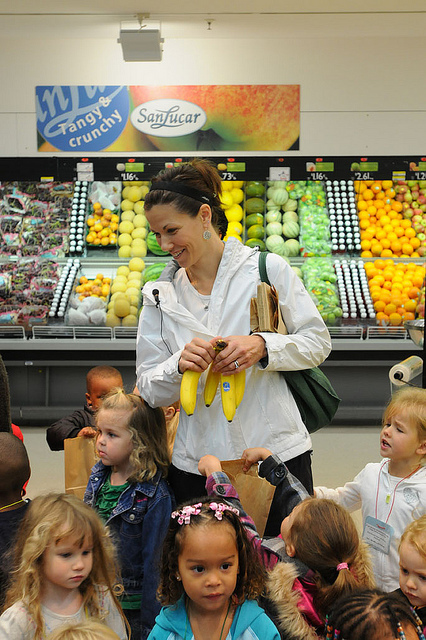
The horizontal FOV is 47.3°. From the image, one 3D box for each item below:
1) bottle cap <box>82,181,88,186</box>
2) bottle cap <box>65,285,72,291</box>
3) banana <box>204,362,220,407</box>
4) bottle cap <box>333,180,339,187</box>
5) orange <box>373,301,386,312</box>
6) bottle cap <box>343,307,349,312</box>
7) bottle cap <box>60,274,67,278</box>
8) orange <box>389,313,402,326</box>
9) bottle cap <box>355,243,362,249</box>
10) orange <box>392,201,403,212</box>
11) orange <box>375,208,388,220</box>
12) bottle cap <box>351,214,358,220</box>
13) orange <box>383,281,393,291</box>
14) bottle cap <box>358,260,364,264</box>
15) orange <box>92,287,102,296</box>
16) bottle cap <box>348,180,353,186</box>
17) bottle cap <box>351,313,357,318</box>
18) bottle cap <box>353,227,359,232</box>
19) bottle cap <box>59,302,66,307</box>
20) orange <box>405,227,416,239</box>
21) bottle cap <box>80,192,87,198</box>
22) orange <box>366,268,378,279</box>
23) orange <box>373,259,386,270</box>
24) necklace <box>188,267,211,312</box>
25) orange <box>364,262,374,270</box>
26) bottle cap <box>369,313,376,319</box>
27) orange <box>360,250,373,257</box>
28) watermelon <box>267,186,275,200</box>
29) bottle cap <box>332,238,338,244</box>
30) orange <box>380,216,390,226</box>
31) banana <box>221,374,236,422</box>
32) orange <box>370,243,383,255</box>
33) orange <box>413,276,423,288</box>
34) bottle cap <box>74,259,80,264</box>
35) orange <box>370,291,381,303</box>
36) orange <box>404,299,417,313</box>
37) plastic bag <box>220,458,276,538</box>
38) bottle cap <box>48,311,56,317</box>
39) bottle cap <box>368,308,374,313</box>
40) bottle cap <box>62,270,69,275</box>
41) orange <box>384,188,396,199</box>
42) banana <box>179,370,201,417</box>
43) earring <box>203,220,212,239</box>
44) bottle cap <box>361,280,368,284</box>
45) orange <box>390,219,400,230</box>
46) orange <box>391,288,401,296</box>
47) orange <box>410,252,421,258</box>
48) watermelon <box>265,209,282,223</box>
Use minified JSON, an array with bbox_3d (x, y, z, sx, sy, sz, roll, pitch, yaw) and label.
[{"bbox_3d":[-1.418,-1.515,5.396,0.061,0.048,0.051,1,-16,2],"label":"bottle cap"},{"bbox_3d":[-1.413,-0.313,4.753,0.055,0.053,0.067,-4,8,-17],"label":"bottle cap"},{"bbox_3d":[-0.004,0.185,1.349,0.033,0.134,0.045,7,15,-11],"label":"banana"},{"bbox_3d":[1.384,-1.528,5.487,0.055,0.071,0.075,0,8,15],"label":"bottle cap"},{"bbox_3d":[1.616,-0.129,4.767,0.103,0.119,0.103,4,-5,35],"label":"orange"},{"bbox_3d":[1.277,-0.099,4.673,0.059,0.043,0.024,-5,8,-24],"label":"bottle cap"},{"bbox_3d":[-1.492,-0.439,4.873,0.068,0.033,0.067,-4,8,-17],"label":"bottle cap"},{"bbox_3d":[1.727,-0.003,4.661,0.105,0.121,0.108,-22,-15,12],"label":"orange"},{"bbox_3d":[1.563,-0.791,5.212,0.094,0.060,0.031,-8,9,-36],"label":"bottle cap"},{"bbox_3d":[2.093,-1.278,5.530,0.103,0.098,0.117,14,-31,31],"label":"orange"},{"bbox_3d":[1.863,-1.182,5.441,0.119,0.130,0.116,2,-5,-3],"label":"orange"},{"bbox_3d":[1.528,-1.108,5.259,0.057,0.066,0.056,-11,17,-39],"label":"bottle cap"},{"bbox_3d":[1.765,-0.350,4.911,0.087,0.100,0.086,-30,37,-27],"label":"orange"},{"bbox_3d":[1.578,-0.618,5.190,0.047,0.033,0.045,-1,-1,-39],"label":"bottle cap"},{"bbox_3d":[-1.139,-0.283,4.801,0.068,0.068,0.089,5,-2,5],"label":"orange"},{"bbox_3d":[1.547,-1.545,5.463,0.056,0.058,0.042,-5,40,9],"label":"bottle cap"},{"bbox_3d":[1.343,-0.045,4.641,0.041,0.037,0.038,0,2,2],"label":"bottle cap"},{"bbox_3d":[1.541,-0.971,5.247,0.055,0.049,0.035,-2,8,5],"label":"bottle cap"},{"bbox_3d":[-1.427,-0.144,4.627,0.042,0.028,0.037,-1,3,4],"label":"bottle cap"},{"bbox_3d":[2.175,-0.959,5.431,0.111,0.123,0.109,8,-2,-24],"label":"orange"},{"bbox_3d":[-1.413,-1.359,5.323,0.061,0.043,0.060,-3,8,-11],"label":"bottle cap"},{"bbox_3d":[1.650,-0.482,5.049,0.111,0.108,0.050,0,8,17],"label":"orange"},{"bbox_3d":[1.753,-0.586,5.104,0.096,0.084,0.107,20,5,8],"label":"orange"},{"bbox_3d":[-0.039,-0.091,1.485,0.020,0.134,0.026,-21,-15,6],"label":"necklace"},{"bbox_3d":[1.649,-0.571,5.136,0.076,0.086,0.074,-8,22,-29],"label":"orange"},{"bbox_3d":[1.529,-0.041,4.667,0.078,0.052,0.034,-6,9,-30],"label":"bottle cap"},{"bbox_3d":[1.644,-0.713,5.237,0.149,0.076,0.067,-5,8,-21],"label":"orange"},{"bbox_3d":[0.628,-1.399,5.353,0.110,0.125,0.107,-10,26,-21],"label":"watermelon"},{"bbox_3d":[1.285,-0.832,5.137,0.051,0.046,0.049,-3,9,-11],"label":"bottle cap"},{"bbox_3d":[1.897,-1.096,5.369,0.089,0.098,0.086,0,5,-8],"label":"orange"},{"bbox_3d":[0.031,0.206,1.311,0.030,0.131,0.044,-11,-18,18],"label":"banana"},{"bbox_3d":[1.755,-0.756,5.213,0.113,0.125,0.110,-1,-1,4],"label":"orange"},{"bbox_3d":[2.080,-0.390,4.938,0.105,0.120,0.103,-2,-26,13],"label":"orange"},{"bbox_3d":[-1.414,-0.612,5.079,0.042,0.036,0.041,-2,7,-3],"label":"bottle cap"},{"bbox_3d":[1.598,-0.223,4.782,0.090,0.105,0.088,-1,-25,9],"label":"orange"},{"bbox_3d":[1.920,-0.134,4.733,0.120,0.134,0.119,1,11,24],"label":"orange"},{"bbox_3d":[0.090,0.556,1.336,0.082,0.309,0.224,0,18,-9],"label":"plastic bag"},{"bbox_3d":[-1.516,-0.060,4.561,0.050,0.044,0.019,5,-2,0],"label":"bottle cap"},{"bbox_3d":[1.520,-0.090,4.685,0.055,0.032,0.033,-5,8,-18],"label":"bottle cap"},{"bbox_3d":[-1.483,-0.482,4.924,0.066,0.045,0.059,-5,8,-24],"label":"bottle cap"},{"bbox_3d":[2.005,-1.437,5.508,0.099,0.095,0.112,-6,-38,5],"label":"orange"},{"bbox_3d":[-0.060,0.191,1.326,0.051,0.139,0.036,15,-14,-31],"label":"banana"},{"bbox_3d":[-0.014,-0.262,1.415,0.015,0.053,0.035,2,9,28],"label":"earring"},{"bbox_3d":[1.544,-0.387,4.952,0.075,0.038,0.044,-5,8,-19],"label":"bottle cap"},{"bbox_3d":[2.014,-1.061,5.413,0.095,0.107,0.096,5,-9,0],"label":"orange"},{"bbox_3d":[1.800,-0.279,4.795,0.065,0.063,0.075,6,-31,1],"label":"orange"},{"bbox_3d":[2.188,-0.693,5.269,0.073,0.071,0.039,-19,-15,-9],"label":"orange"},{"bbox_3d":[0.652,-1.139,5.320,0.147,0.159,0.135,-9,24,-19],"label":"watermelon"}]
